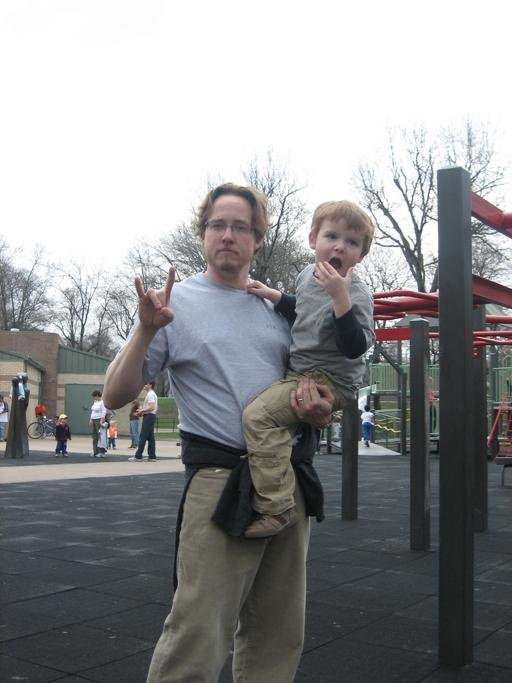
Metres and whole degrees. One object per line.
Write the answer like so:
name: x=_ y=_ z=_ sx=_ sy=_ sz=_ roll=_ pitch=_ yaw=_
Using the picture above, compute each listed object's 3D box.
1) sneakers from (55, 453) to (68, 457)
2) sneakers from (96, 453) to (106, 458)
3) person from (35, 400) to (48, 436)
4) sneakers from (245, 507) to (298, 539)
sneakers: x=-5.747 y=3.327 z=17.283 sx=0.258 sy=0.081 sz=0.177 roll=4 pitch=-4 yaw=1
sneakers: x=-4.550 y=3.326 z=17.164 sx=0.113 sy=0.108 sz=0.259 roll=2 pitch=-4 yaw=3
person: x=-10.635 y=3.854 z=28.989 sx=0.427 sy=1.433 sz=2.110 roll=1 pitch=-4 yaw=-18
sneakers: x=0.033 y=0.416 z=1.335 sx=0.046 sy=0.053 sz=0.130 roll=-14 pitch=-3 yaw=37
